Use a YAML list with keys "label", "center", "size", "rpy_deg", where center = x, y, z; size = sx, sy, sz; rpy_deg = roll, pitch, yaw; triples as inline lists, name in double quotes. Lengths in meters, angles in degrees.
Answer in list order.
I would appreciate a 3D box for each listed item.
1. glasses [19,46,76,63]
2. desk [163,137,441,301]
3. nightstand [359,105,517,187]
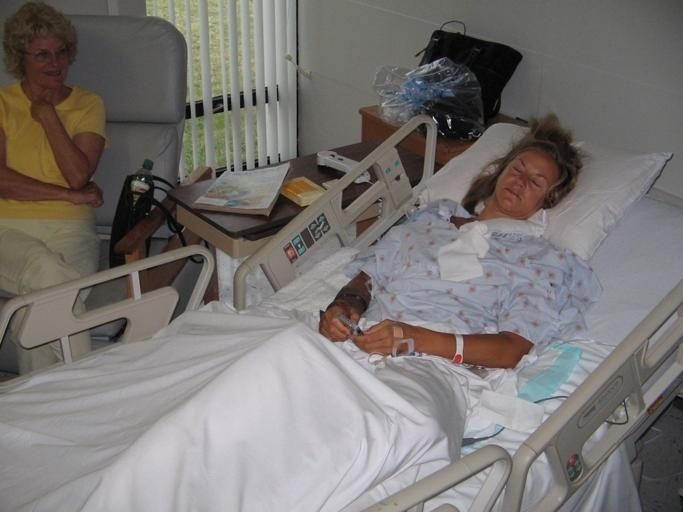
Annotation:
- label: "glasses"
  center: [-1.301, -0.890, 2.386]
  size: [0.178, 0.067, 0.089]
  rpy_deg: [-7, 37, -29]
- label: "desk"
  center: [-0.162, -0.141, 2.357]
  size: [0.883, 0.419, 0.439]
  rpy_deg: [-24, 44, -23]
- label: "nightstand"
  center: [0.481, -0.527, 2.621]
  size: [0.252, 0.364, 0.385]
  rpy_deg: [-27, 53, -26]
